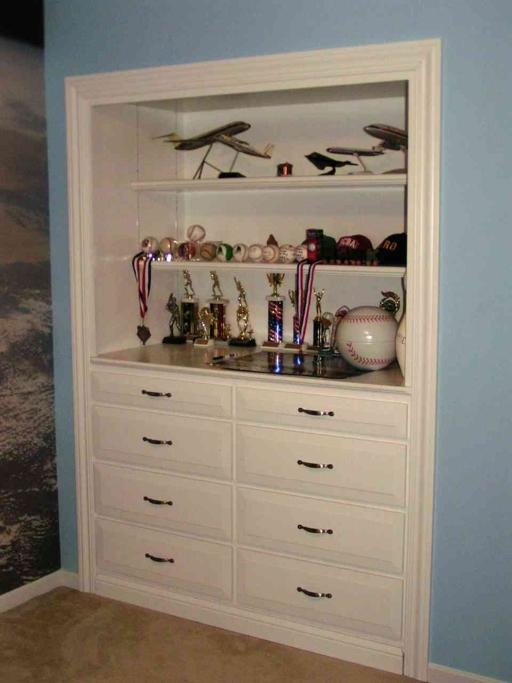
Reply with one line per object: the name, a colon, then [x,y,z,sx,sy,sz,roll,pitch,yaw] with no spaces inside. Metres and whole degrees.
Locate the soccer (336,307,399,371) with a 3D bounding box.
soccer: [0.391,-0.010,2.321,0.208,0.222,0.194,7,11,-8]

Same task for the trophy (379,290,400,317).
trophy: [0.536,-0.155,2.524,0.089,0.104,0.034,-3,-18,4]

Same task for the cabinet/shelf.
cabinet/shelf: [0.066,0.020,2.523,1.448,2.067,0.694,4,8,27]

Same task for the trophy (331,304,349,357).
trophy: [0.327,-0.041,2.616,0.061,0.218,0.070,2,4,-32]

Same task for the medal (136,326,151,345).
medal: [-0.500,-0.030,2.829,0.009,0.062,0.066,-5,-34,34]
